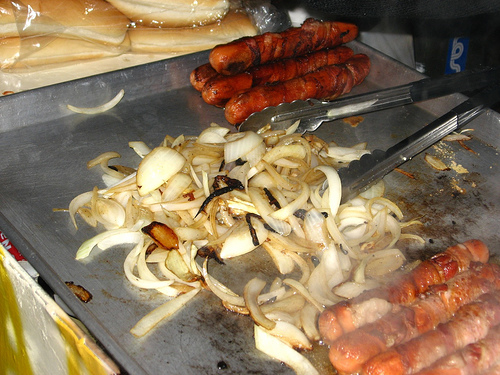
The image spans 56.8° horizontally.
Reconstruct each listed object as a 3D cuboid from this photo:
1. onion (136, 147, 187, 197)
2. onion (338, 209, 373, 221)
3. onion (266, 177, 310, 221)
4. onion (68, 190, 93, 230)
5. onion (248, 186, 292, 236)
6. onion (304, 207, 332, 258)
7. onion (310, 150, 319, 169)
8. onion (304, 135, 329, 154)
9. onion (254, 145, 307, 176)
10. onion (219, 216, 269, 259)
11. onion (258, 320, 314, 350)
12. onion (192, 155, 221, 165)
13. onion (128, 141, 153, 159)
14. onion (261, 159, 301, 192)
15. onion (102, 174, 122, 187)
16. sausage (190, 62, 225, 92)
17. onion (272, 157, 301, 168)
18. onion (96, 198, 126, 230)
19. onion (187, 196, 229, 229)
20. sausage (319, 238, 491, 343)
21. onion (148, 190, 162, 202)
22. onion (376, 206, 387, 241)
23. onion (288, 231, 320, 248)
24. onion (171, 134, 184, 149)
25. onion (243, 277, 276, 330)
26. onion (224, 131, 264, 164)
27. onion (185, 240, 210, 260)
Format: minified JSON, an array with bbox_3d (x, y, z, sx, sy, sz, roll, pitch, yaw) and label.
[{"bbox_3d":[-0.261,-0.046,1.368,0.184,0.125,0.048,-42,60,24],"label":"onion"},{"bbox_3d":[0.307,0.080,1.388,0.053,0.044,0.016,-14,94,-3],"label":"onion"},{"bbox_3d":[0.120,0.042,1.363,0.125,0.033,0.099,-47,40,-11],"label":"onion"},{"bbox_3d":[-0.510,0.061,1.372,0.074,0.026,0.097,43,67,-11],"label":"onion"},{"bbox_3d":[0.065,0.064,1.359,0.094,0.030,0.272,-2,27,-18],"label":"onion"},{"bbox_3d":[0.179,0.127,1.308,0.079,0.029,0.121,-9,83,15],"label":"onion"},{"bbox_3d":[0.207,-0.087,1.498,0.042,0.016,0.059,-1,80,4],"label":"onion"},{"bbox_3d":[0.230,-0.155,1.572,0.077,0.057,0.020,45,102,22],"label":"onion"},{"bbox_3d":[0.101,-0.090,1.481,0.185,0.048,0.067,-23,80,-12],"label":"onion"},{"bbox_3d":[-0.018,0.149,1.302,0.151,0.047,0.072,-33,57,-23],"label":"onion"},{"bbox_3d":[0.100,0.374,1.173,0.113,0.026,0.061,34,33,21],"label":"onion"},{"bbox_3d":[-0.144,-0.090,1.477,0.087,0.025,0.027,-16,52,-11],"label":"onion"},{"bbox_3d":[-0.371,-0.134,1.568,0.084,0.023,0.059,28,52,13],"label":"onion"},{"bbox_3d":[0.093,-0.027,1.416,0.023,0.069,0.119,-44,85,4],"label":"onion"},{"bbox_3d":[-0.438,-0.029,1.460,0.041,0.011,0.041,0,67,-1],"label":"onion"},{"bbox_3d":[-0.151,-0.426,1.821,0.157,0.073,0.072,-28,46,-30],"label":"sausage"},{"bbox_3d":[0.113,-0.074,1.447,0.058,0.014,0.034,15,24,-1],"label":"onion"},{"bbox_3d":[-0.410,0.070,1.361,0.102,0.039,0.060,21,55,18],"label":"onion"},{"bbox_3d":[-0.125,0.072,1.341,0.137,0.050,0.038,-28,55,-20],"label":"onion"},{"bbox_3d":[0.392,0.271,1.182,0.375,0.085,0.085,-25,82,-22],"label":"sausage"},{"bbox_3d":[-0.280,0.025,1.384,0.032,0.011,0.033,0,88,4],"label":"onion"},{"bbox_3d":[0.392,0.106,1.370,0.022,0.030,0.111,12,93,18],"label":"onion"},{"bbox_3d":[0.152,0.154,1.321,0.095,0.021,0.039,25,56,20],"label":"onion"},{"bbox_3d":[-0.238,-0.160,1.564,0.022,0.018,0.071,47,42,-10],"label":"onion"},{"bbox_3d":[0.019,0.312,1.225,0.098,0.040,0.194,18,26,-9],"label":"onion"},{"bbox_3d":[-0.027,-0.142,1.493,0.120,0.031,0.111,-31,19,20],"label":"onion"},{"bbox_3d":[-0.151,0.176,1.310,0.036,0.015,0.050,-9,15,35],"label":"onion"}]
